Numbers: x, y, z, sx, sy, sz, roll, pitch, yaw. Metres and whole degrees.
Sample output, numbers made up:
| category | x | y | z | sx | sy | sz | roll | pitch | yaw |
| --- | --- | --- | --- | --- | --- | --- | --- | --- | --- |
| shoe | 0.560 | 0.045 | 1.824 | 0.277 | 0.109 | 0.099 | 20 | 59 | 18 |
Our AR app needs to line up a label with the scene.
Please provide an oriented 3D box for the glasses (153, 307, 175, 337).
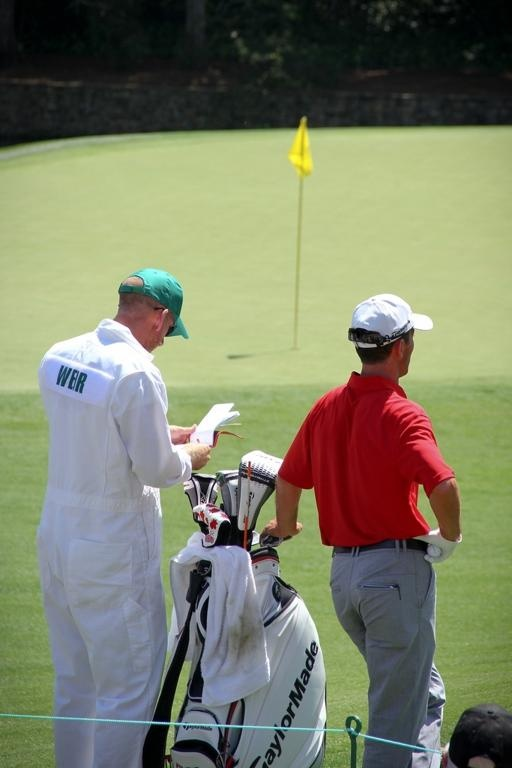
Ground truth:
| category | x | y | z | sx | sy | sz | roll | pitch | yaw |
| --- | --- | --- | --- | --- | --- | --- | --- | --- | --- |
| glasses | -0.535 | -0.373 | 10.850 | 0.096 | 0.145 | 0.123 | 0 | 22 | 12 |

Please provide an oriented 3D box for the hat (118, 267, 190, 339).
| category | x | y | z | sx | sy | sz | roll | pitch | yaw |
| --- | --- | --- | --- | --- | --- | --- | --- | --- | --- |
| hat | -0.603 | -0.561 | 10.876 | 0.319 | 0.458 | 0.306 | 11 | 21 | 24 |

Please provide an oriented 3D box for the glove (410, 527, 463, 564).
| category | x | y | z | sx | sy | sz | roll | pitch | yaw |
| --- | --- | --- | --- | --- | --- | --- | --- | --- | --- |
| glove | 1.015 | 0.900 | 10.623 | 0.246 | 0.186 | 0.101 | 0 | 3 | -3 |

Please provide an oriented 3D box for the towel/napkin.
| category | x | y | z | sx | sy | sz | roll | pitch | yaw |
| --- | --- | --- | --- | --- | --- | --- | --- | --- | --- |
| towel/napkin | -0.237 | 1.299 | 10.546 | 0.580 | 0.932 | 0.256 | 2 | 4 | 38 |

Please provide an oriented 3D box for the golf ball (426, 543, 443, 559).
| category | x | y | z | sx | sy | sz | roll | pitch | yaw |
| --- | --- | --- | --- | --- | --- | --- | --- | --- | --- |
| golf ball | 1.007 | 0.921 | 10.628 | 0.071 | 0.075 | 0.074 | 11 | -7 | 1 |
